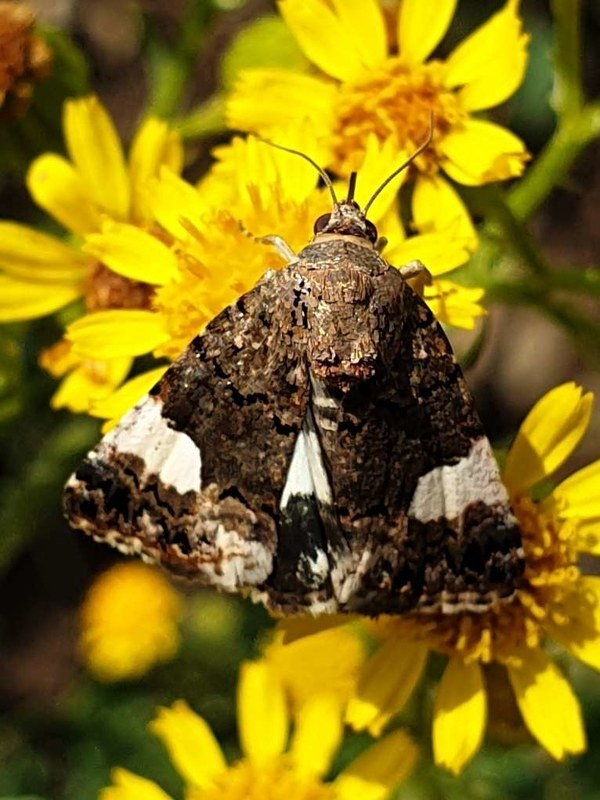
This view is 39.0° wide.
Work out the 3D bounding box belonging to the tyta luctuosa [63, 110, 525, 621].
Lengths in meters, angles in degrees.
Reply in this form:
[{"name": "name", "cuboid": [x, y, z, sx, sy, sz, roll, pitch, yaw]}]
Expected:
[{"name": "tyta luctuosa", "cuboid": [0.095, 0.057, 1.190, 0.572, 0.123, 0.594, 34, 84, 4]}]
